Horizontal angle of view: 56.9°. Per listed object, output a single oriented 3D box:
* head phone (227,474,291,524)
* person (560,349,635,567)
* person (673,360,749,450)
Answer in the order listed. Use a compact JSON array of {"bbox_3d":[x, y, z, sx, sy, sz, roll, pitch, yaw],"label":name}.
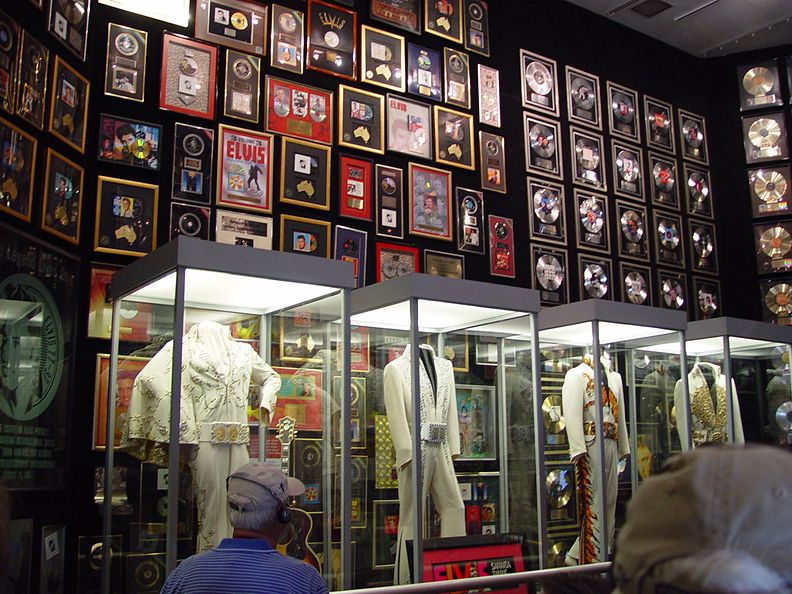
[{"bbox_3d":[-0.488,0.683,2.613,0.138,0.213,0.192,3,14,28],"label":"head phone"},{"bbox_3d":[1.575,1.247,5.757,0.425,1.515,0.313,3,-9,-15],"label":"person"},{"bbox_3d":[2.880,1.054,6.675,0.545,0.890,0.187,-5,-9,12],"label":"person"}]
